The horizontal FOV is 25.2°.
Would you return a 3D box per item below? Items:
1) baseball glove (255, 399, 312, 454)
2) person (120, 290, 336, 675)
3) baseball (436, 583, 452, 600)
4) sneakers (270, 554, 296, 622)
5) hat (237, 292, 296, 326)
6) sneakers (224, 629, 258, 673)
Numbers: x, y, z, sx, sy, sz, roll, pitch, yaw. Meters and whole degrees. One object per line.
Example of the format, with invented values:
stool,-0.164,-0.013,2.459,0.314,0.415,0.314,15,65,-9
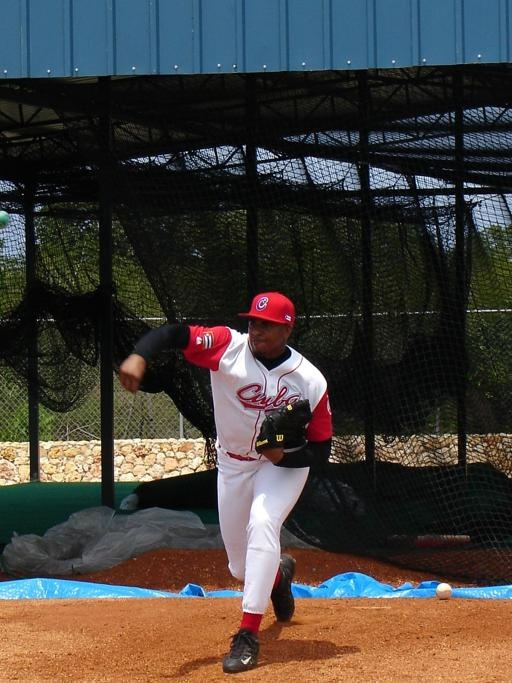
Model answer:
baseball glove,0.161,0.458,6.254,0.362,0.288,0.164,-2,3,-44
person,-0.124,0.730,6.259,0.605,2.003,1.023,3,4,41
baseball,1.297,1.728,7.953,0.092,0.090,0.101,19,-45,-13
sneakers,0.162,1.448,6.839,0.128,0.394,0.170,-1,-19,23
hat,0.066,-0.168,6.296,0.176,0.143,0.245,9,-5,43
sneakers,-0.084,1.638,6.106,0.181,0.199,0.176,0,2,0
